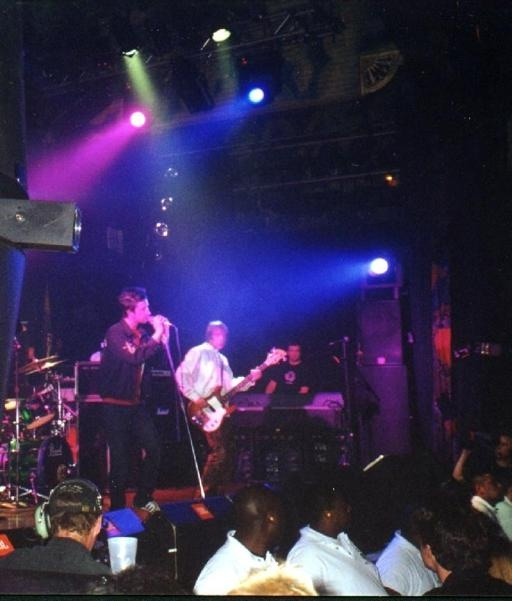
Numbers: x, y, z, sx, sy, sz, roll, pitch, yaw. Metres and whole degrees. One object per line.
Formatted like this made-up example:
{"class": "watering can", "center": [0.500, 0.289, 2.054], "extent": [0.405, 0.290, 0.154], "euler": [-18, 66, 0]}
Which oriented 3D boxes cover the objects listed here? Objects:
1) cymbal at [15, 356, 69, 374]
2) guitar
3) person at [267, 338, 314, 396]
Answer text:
{"class": "cymbal", "center": [-1.728, 0.535, 5.210], "extent": [0.387, 0.139, 0.361], "euler": [0, -9, 1]}
{"class": "guitar", "center": [-0.140, 0.774, 5.677], "extent": [0.375, 0.754, 1.134], "euler": [-5, -10, 29]}
{"class": "person", "center": [0.342, 0.752, 6.843], "extent": [0.467, 0.815, 0.484], "euler": [0, -27, 9]}
